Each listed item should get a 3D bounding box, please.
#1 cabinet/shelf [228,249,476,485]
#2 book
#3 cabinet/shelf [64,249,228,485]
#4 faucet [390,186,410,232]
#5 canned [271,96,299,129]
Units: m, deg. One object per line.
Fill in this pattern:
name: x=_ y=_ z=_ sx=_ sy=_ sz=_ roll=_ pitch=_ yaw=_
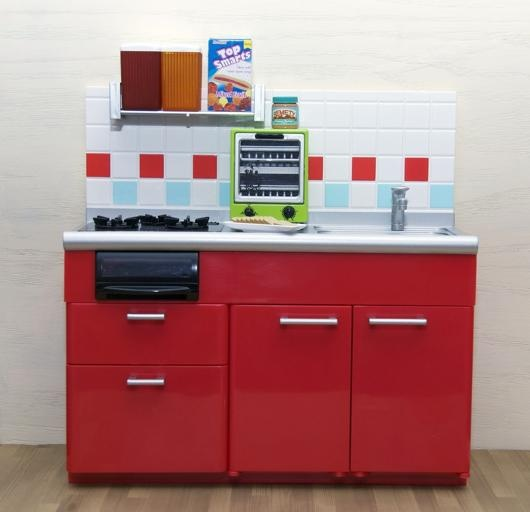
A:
cabinet/shelf: x=0.317 y=0.463 z=3.349 sx=1.347 sy=1.061 sz=0.763 roll=0 pitch=2 yaw=2
book: x=-0.138 y=-0.729 z=3.197 sx=0.186 sy=0.288 sz=0.116 roll=-2 pitch=15 yaw=-3
cabinet/shelf: x=-0.290 y=0.434 z=3.275 sx=0.838 sy=0.904 sz=0.797 roll=-2 pitch=-7 yaw=13
faucet: x=0.572 y=-0.208 z=3.320 sx=0.070 sy=0.181 sz=0.164 roll=1 pitch=14 yaw=9
canned: x=0.091 y=-0.595 z=3.322 sx=0.168 sy=0.155 sz=0.126 roll=1 pitch=9 yaw=2
